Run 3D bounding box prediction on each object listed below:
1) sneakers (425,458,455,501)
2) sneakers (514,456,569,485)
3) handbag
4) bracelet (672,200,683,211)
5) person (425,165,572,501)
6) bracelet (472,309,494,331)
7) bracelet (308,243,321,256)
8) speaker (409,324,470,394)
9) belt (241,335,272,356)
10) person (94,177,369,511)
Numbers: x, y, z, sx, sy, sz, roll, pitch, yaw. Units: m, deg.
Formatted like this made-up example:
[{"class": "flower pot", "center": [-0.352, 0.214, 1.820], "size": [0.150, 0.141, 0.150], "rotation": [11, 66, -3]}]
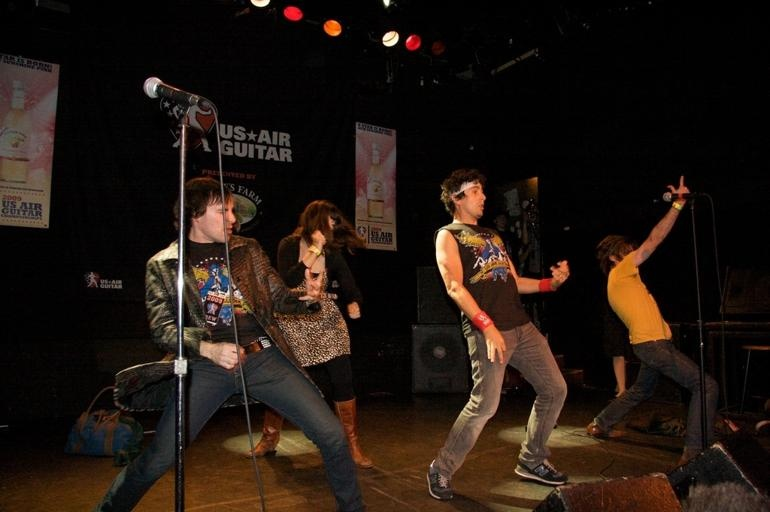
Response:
[{"class": "sneakers", "center": [0.398, 1.637, 3.943], "size": [0.195, 0.270, 0.162], "rotation": [0, 0, 14]}, {"class": "sneakers", "center": [1.211, 1.680, 4.192], "size": [0.403, 0.179, 0.159], "rotation": [2, -7, 27]}, {"class": "handbag", "center": [-2.527, 1.499, 4.796], "size": [0.623, 0.556, 0.295], "rotation": [0, -11, 5]}, {"class": "bracelet", "center": [2.463, -0.429, 4.494], "size": [0.043, 0.069, 0.090], "rotation": [-43, -26, 30]}, {"class": "person", "center": [0.807, 0.537, 4.052], "size": [1.004, 2.472, 0.626], "rotation": [0, 0, -24]}, {"class": "bracelet", "center": [0.674, 0.455, 3.758], "size": [0.153, 0.050, 0.110], "rotation": [24, 1, -11]}, {"class": "bracelet", "center": [-0.518, -0.044, 3.946], "size": [0.095, 0.091, 0.078], "rotation": [14, -4, -34]}, {"class": "speaker", "center": [0.688, 1.445, 7.152], "size": [0.803, 0.969, 0.585], "rotation": [3, -27, -4]}, {"class": "belt", "center": [-0.805, 0.551, 3.328], "size": [0.135, 0.048, 0.098], "rotation": [-20, 6, 5]}, {"class": "person", "center": [-0.959, 0.521, 3.300], "size": [1.471, 2.057, 0.570], "rotation": [0, 0, -5]}]
